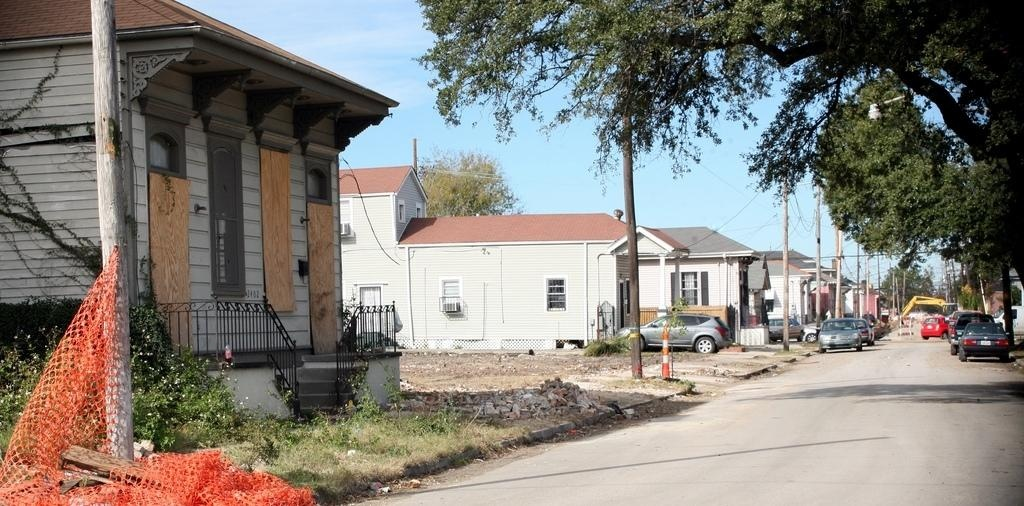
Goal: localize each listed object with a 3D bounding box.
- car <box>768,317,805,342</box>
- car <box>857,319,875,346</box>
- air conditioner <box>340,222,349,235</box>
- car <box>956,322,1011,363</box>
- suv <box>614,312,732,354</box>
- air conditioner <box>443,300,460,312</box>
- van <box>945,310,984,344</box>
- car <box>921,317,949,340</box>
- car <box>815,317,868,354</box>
[{"bbox_3d":[18.315,5.069,75.353,3.656,1.640,1.788,4,-7,-29],"label":"car"},{"bbox_3d":[20.893,4.652,66.058,1.336,1.139,3.009,-1,4,18],"label":"car"},{"bbox_3d":[-8.809,-1.330,59.679,0.455,0.646,0.844,-1,-6,-12],"label":"air conditioner"},{"bbox_3d":[21.132,3.999,50.385,1.999,1.819,1.811,-4,-6,19],"label":"car"},{"bbox_3d":[7.947,3.942,55.124,5.516,1.911,2.302,2,-2,6],"label":"suv"},{"bbox_3d":[-3.165,2.794,59.057,0.673,0.417,0.657,0,-8,0],"label":"air conditioner"},{"bbox_3d":[23.620,3.899,58.613,1.812,1.548,3.346,-1,3,17],"label":"van"},{"bbox_3d":[28.439,4.979,75.121,1.161,0.917,2.003,-1,3,29],"label":"car"},{"bbox_3d":[17.879,4.496,61.239,2.147,1.818,2.128,-4,-6,19],"label":"car"}]
